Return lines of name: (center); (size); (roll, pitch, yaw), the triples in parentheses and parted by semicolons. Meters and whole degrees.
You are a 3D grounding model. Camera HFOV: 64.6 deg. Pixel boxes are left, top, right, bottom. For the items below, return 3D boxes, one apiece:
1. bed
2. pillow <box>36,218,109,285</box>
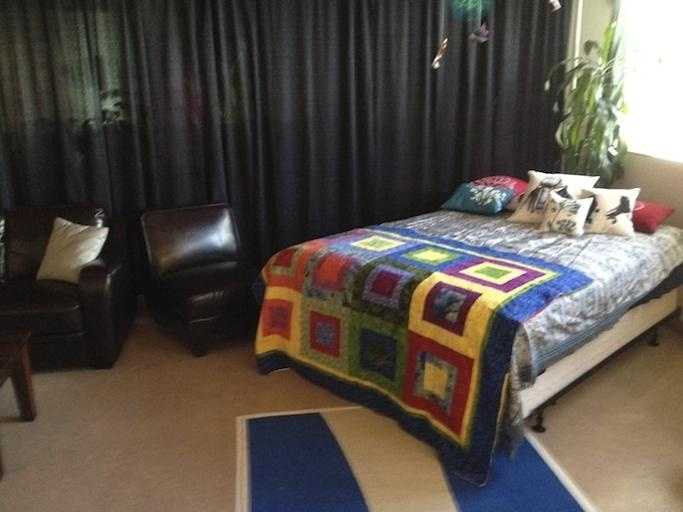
bed: (0.995, 0.039, 3.284); (2.198, 0.873, 1.394); (-21, 27, -36)
pillow: (-1.832, 0.004, 3.796); (0.430, 0.131, 0.407); (8, 69, 23)
